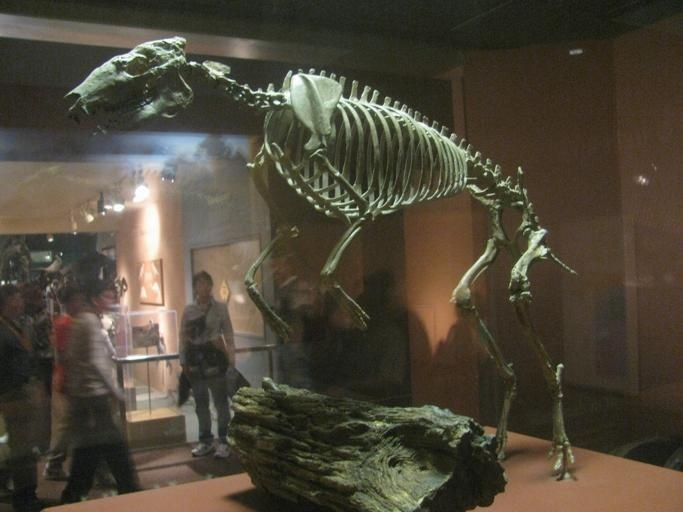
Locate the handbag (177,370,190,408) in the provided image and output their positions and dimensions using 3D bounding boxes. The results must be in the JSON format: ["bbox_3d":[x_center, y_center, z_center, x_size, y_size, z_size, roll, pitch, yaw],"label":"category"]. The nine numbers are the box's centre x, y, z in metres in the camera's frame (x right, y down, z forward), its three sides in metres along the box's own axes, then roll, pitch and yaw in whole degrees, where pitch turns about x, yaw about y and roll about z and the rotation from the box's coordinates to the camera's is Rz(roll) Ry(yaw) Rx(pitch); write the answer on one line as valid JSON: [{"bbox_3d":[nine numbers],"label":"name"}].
[{"bbox_3d":[-0.983,0.842,3.917,0.095,0.196,0.050,7,-4,-22],"label":"handbag"}]

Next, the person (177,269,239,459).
[{"bbox_3d":[-0.845,0.695,3.963,0.334,1.192,0.087,0,0,-12],"label":"person"}]

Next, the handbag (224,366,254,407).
[{"bbox_3d":[-0.678,0.807,4.118,0.162,0.194,0.048,3,1,-23],"label":"handbag"}]

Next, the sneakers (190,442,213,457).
[{"bbox_3d":[-0.880,1.234,3.957,0.055,0.053,0.143,-4,-11,32],"label":"sneakers"}]
